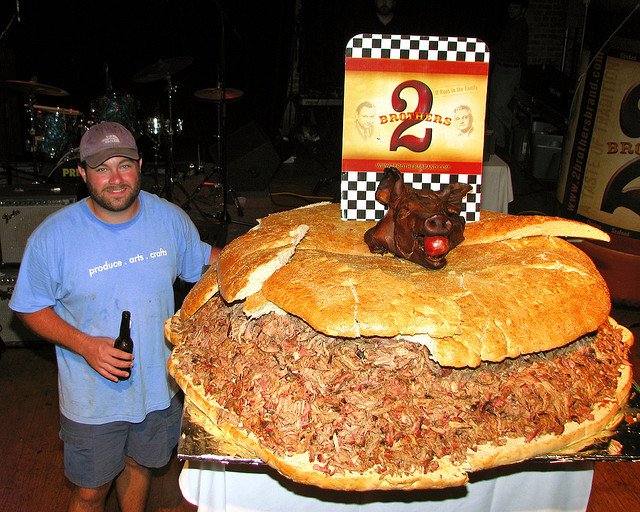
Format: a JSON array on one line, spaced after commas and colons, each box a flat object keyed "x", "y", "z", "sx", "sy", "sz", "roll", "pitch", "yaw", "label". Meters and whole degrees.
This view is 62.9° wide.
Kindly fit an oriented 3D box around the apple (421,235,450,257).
[{"x": 0.565, "y": -0.052, "z": 2.514, "sx": 0.122, "sy": 0.104, "sz": 0.068, "roll": 5, "pitch": 17, "yaw": 13, "label": "apple"}]
